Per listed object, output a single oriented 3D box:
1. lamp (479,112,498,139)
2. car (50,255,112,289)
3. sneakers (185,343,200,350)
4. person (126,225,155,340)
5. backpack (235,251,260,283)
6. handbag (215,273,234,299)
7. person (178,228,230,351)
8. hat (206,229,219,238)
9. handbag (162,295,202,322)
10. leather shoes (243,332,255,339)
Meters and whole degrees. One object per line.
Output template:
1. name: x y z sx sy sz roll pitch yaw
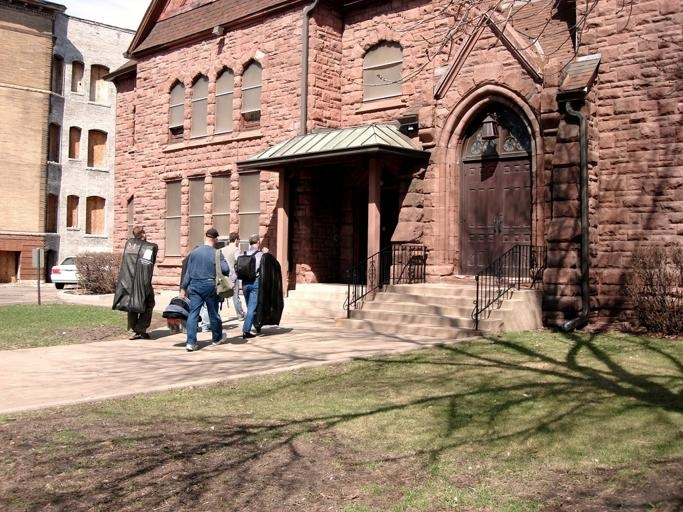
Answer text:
1. lamp: 3.841 -3.331 15.175 0.420 0.691 0.404 2 5 29
2. car: -11.850 0.799 26.690 1.495 1.166 3.608 -2 3 -2
3. sneakers: -2.798 1.716 10.995 0.110 0.150 0.331 -1 -10 5
4. person: -4.257 0.594 12.354 0.524 2.408 1.307 -2 5 -20
5. backpack: -1.919 0.249 12.305 0.431 0.615 0.576 -1 -2 19
6. handbag: -2.198 0.571 11.042 0.332 0.427 0.232 -1 5 -7
7. person: -2.596 0.634 11.218 0.839 2.279 0.813 -2 5 -17
8. hat: -2.445 -0.416 11.181 0.166 0.133 0.220 7 11 9
9. handbag: -3.263 1.055 11.785 0.467 0.292 0.742 0 -1 6
10. leather shoes: -1.926 1.666 12.295 0.254 0.110 0.084 -8 8 -40
